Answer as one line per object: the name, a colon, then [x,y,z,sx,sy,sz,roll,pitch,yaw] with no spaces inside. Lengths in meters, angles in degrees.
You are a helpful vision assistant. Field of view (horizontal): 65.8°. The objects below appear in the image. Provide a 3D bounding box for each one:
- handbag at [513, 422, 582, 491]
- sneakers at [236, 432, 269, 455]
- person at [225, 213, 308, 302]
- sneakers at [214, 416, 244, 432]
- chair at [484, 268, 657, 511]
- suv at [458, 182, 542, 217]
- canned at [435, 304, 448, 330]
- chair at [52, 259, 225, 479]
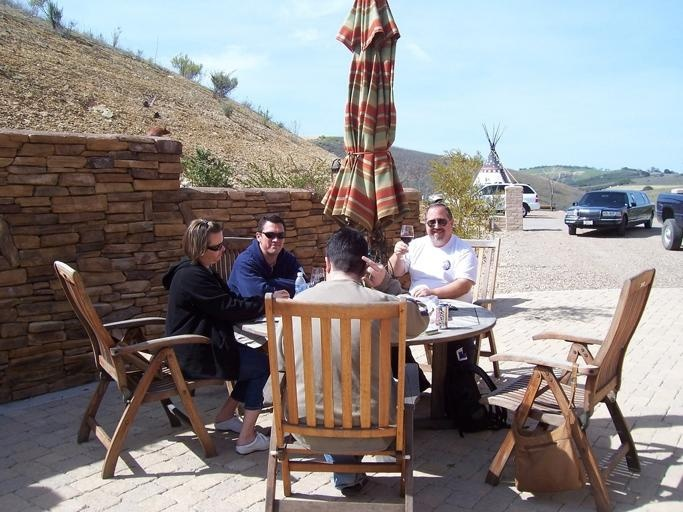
handbag: [1.451,1.424,3.632,0.299,0.400,0.517,22,-34,-35]
sneakers: [-0.699,1.501,4.237,0.267,0.094,0.123,-5,8,-33]
person: [-0.723,0.123,5.108,0.737,0.918,0.851,-2,9,-27]
sneakers: [-0.975,1.465,4.579,0.256,0.087,0.115,3,26,4]
chair: [1.731,0.891,4.670,1.733,2.090,1.652,2,3,32]
suv: [7.521,-2.601,25.254,3.813,1.264,1.501,2,3,14]
canned: [0.753,0.443,3.989,0.094,0.172,0.245,1,9,9]
chair: [-1.560,0.843,5.049,1.877,2.039,1.610,-4,7,-29]
